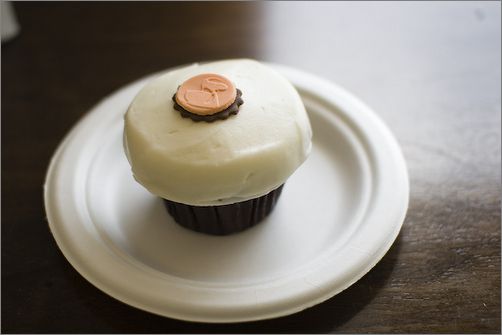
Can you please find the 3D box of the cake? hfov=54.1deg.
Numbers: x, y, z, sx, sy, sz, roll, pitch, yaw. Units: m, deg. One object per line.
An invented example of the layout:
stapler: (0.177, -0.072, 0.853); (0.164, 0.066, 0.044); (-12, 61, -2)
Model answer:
cake: (-0.115, -0.093, 1.579); (0.576, 0.398, 0.566); (-15, 51, -13)
